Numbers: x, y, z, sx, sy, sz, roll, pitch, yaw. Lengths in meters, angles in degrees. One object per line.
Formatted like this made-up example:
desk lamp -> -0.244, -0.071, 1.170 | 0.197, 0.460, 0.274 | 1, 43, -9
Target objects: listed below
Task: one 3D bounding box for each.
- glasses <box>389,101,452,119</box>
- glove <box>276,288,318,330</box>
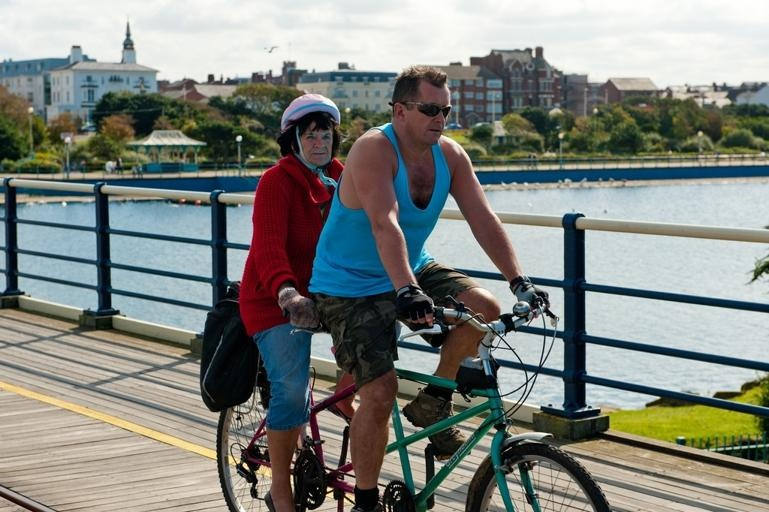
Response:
glasses -> 0.338, -1.200, 10.232 | 0.273, 0.086, 0.216 | 17, 11, 27
glove -> -0.697, 0.412, 10.264 | 0.241, 0.357, 0.142 | -31, -14, -48
